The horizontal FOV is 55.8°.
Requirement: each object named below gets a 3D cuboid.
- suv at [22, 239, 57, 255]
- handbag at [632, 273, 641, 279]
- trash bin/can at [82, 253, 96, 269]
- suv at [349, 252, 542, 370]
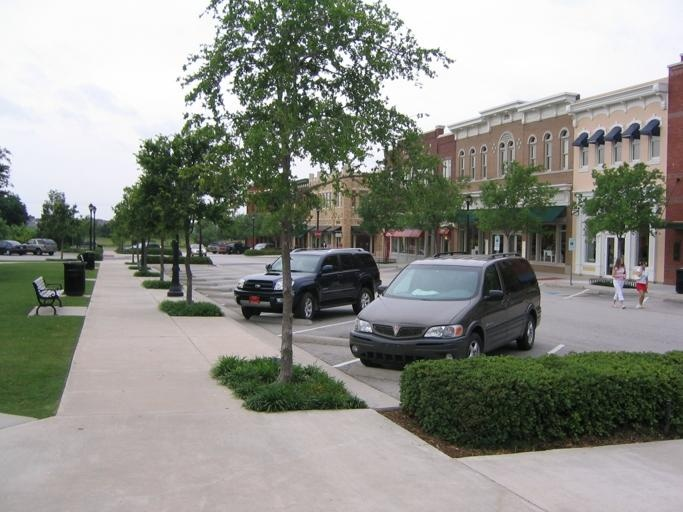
[{"bbox_3d":[-34.944,-1.124,73.989,2.905,1.726,4.150,1,3,1],"label":"suv"},{"bbox_3d":[14.401,0.967,31.455,0.307,0.233,0.168,-3,1,-38],"label":"handbag"},{"bbox_3d":[-15.923,0.291,40.178,0.911,1.154,0.982,-1,-2,-5],"label":"trash bin/can"},{"bbox_3d":[2.195,1.045,12.694,1.898,1.714,3.629,-6,-7,33],"label":"suv"}]
